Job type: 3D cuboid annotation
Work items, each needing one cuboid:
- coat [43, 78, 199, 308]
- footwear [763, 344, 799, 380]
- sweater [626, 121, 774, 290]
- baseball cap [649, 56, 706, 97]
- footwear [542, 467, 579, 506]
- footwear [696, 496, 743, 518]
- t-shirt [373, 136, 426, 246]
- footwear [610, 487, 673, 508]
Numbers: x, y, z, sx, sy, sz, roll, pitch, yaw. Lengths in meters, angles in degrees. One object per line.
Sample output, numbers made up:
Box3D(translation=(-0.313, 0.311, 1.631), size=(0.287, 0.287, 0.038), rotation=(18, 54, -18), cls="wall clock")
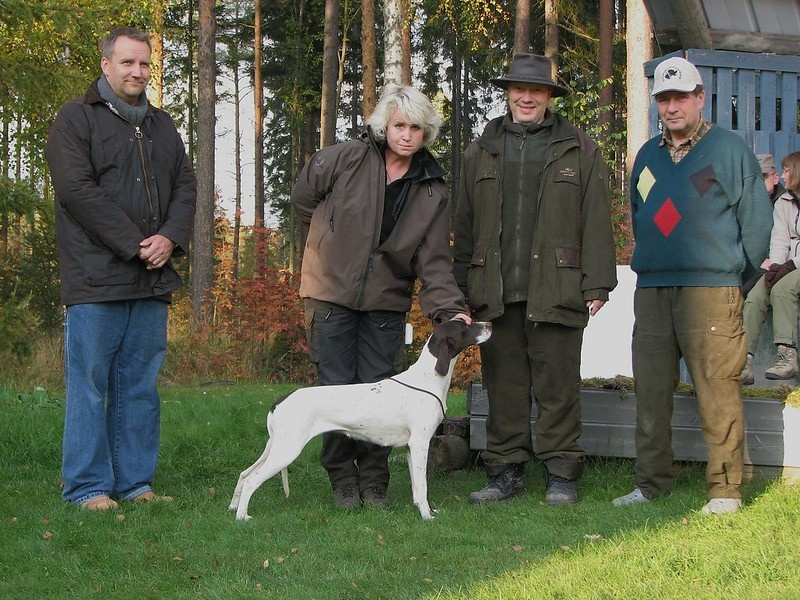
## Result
Box3D(translation=(-2.633, -0.991, 11.163), size=(1.241, 2.155, 0.387), rotation=(-2, 0, -19), cls="coat")
Box3D(translation=(3.962, 0.694, 12.497), size=(0.518, 0.385, 0.201), rotation=(0, -4, -33), cls="footwear")
Box3D(translation=(2.800, -0.869, 11.367), size=(1.512, 1.648, 0.869), rotation=(0, 1, 44), cls="sweater")
Box3D(translation=(2.578, -2.088, 11.096), size=(0.425, 0.369, 0.650), rotation=(-3, 6, 19), cls="baseball cap")
Box3D(translation=(1.555, 1.829, 11.348), size=(0.291, 0.288, 0.218), rotation=(-2, 0, 6), cls="footwear")
Box3D(translation=(2.942, 1.897, 10.779), size=(0.295, 0.131, 0.161), rotation=(2, -8, -9), cls="footwear")
Box3D(translation=(-0.004, -0.940, 11.310), size=(0.395, 0.770, 0.172), rotation=(22, 4, 11), cls="t-shirt")
Box3D(translation=(2.191, 1.893, 11.177), size=(0.369, 0.175, 0.149), rotation=(3, -6, -10), cls="footwear")
